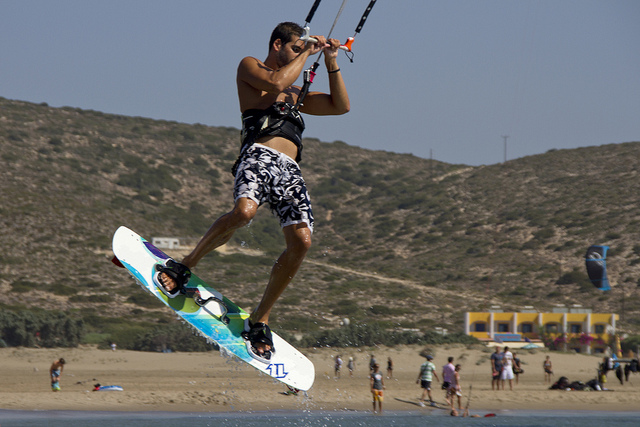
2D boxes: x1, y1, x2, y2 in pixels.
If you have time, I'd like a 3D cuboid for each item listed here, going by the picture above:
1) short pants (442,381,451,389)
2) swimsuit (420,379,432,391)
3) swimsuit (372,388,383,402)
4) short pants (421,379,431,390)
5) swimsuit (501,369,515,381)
[{"bbox_3d":[8.689,11.786,88.570,0.359,0.648,0.660,-5,15,-21],"label":"short pants"},{"bbox_3d":[7.336,11.861,89.112,1.020,0.557,0.759,1,2,2],"label":"swimsuit"},{"bbox_3d":[3.925,12.431,88.339,0.652,1.236,0.976,2,14,7],"label":"swimsuit"},{"bbox_3d":[7.315,11.851,89.065,0.867,0.549,0.637,0,2,2],"label":"short pants"},{"bbox_3d":[13.685,11.750,94.007,1.229,0.509,1.222,7,29,2],"label":"swimsuit"}]
